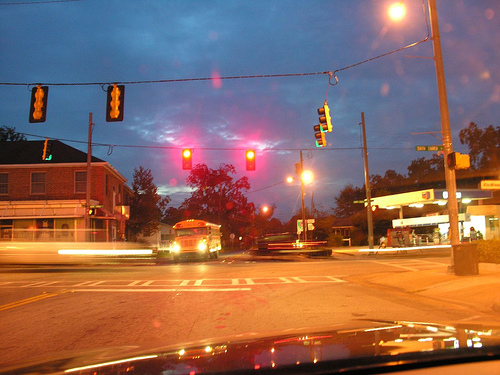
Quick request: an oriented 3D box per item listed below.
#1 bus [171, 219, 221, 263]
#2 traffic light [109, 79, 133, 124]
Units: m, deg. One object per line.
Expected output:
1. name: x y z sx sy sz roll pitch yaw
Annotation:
1. bus: -4.315 4.554 39.989 3.612 3.234 11.963 -2 -9 -4
2. traffic light: -5.358 -3.416 18.971 0.750 1.466 0.141 0 -3 16
